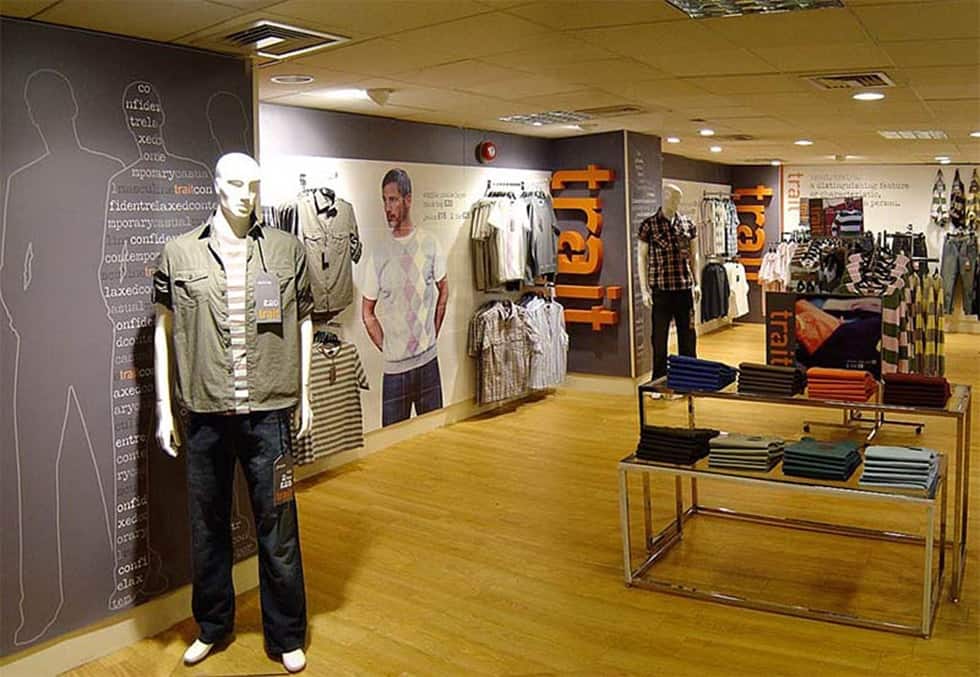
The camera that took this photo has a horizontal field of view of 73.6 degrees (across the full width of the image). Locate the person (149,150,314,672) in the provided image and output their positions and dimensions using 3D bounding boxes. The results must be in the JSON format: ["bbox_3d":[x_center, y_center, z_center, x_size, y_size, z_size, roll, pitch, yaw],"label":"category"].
[{"bbox_3d":[-1.413,0.391,3.632,0.866,2.755,0.683,-4,10,-9],"label":"person"}]

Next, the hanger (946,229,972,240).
[{"bbox_3d":[8.650,-1.957,12.190,0.255,0.148,0.519,-3,11,-3],"label":"hanger"}]

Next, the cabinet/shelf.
[{"bbox_3d":[2.114,1.099,4.239,2.300,1.367,1.571,1,6,29],"label":"cabinet/shelf"}]

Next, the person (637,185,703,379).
[{"bbox_3d":[2.073,-0.639,7.676,0.671,2.245,0.704,1,11,16],"label":"person"}]

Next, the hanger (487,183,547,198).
[{"bbox_3d":[0.335,-1.786,7.912,0.230,0.195,1.013,6,14,39],"label":"hanger"}]
